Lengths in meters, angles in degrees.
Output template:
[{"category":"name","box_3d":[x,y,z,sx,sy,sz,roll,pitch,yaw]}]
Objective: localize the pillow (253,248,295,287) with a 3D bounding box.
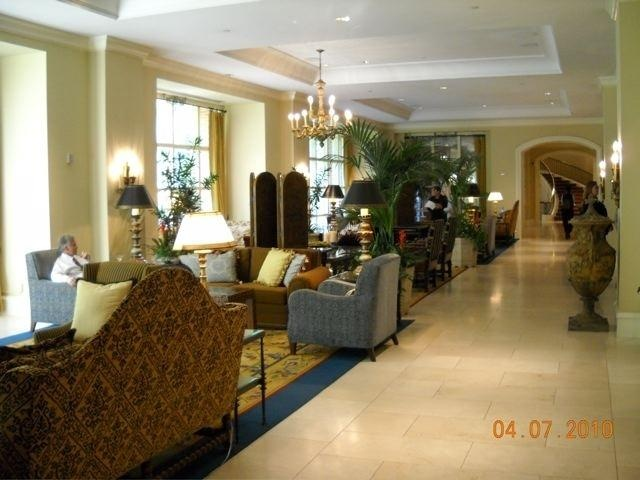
[{"category":"pillow","box_3d":[-0.589,0.372,6.235,0.475,0.467,0.150,6,-20,46]}]

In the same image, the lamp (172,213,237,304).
[{"category":"lamp","box_3d":[-1.003,0.095,3.838,0.581,0.697,0.564,-2,-1,36]}]

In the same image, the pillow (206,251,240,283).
[{"category":"pillow","box_3d":[-1.355,0.383,6.422,0.516,0.486,0.183,-1,-8,3]}]

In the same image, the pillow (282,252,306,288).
[{"category":"pillow","box_3d":[-0.312,0.396,6.216,0.113,0.368,0.370,31,-18,-20]}]

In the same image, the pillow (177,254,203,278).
[{"category":"pillow","box_3d":[-1.793,0.314,6.476,0.460,0.459,0.187,0,-1,40]}]

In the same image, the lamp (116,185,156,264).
[{"category":"lamp","box_3d":[-3.028,-0.302,7.654,0.540,1.234,0.893,-3,5,-23]}]

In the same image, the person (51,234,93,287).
[{"category":"person","box_3d":[-3.297,0.276,6.112,0.279,0.787,0.536,-4,12,11]}]

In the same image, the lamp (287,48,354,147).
[{"category":"lamp","box_3d":[0.010,-2.719,8.879,1.232,1.789,1.232,-14,17,-42]}]

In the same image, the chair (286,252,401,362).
[{"category":"chair","box_3d":[0.401,0.675,5.302,1.195,1.177,1.061,0,-2,17]}]
